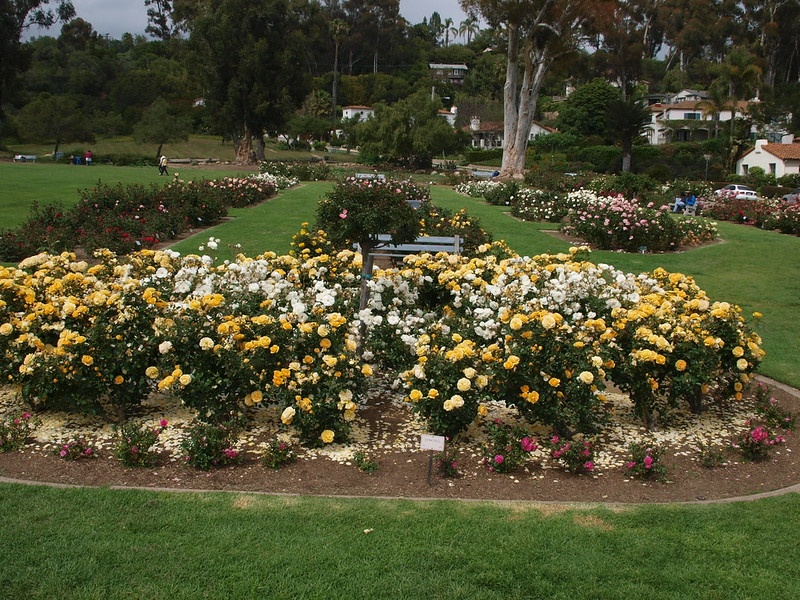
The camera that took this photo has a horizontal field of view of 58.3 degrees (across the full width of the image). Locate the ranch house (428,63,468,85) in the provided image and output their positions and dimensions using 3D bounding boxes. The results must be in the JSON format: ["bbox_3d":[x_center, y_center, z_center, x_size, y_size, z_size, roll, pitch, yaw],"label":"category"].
[{"bbox_3d":[8.538,-39.433,123.898,5.994,4.803,9.125,5,8,13],"label":"ranch house"}]

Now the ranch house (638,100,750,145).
[{"bbox_3d":[30.022,-18.246,72.786,7.005,5.180,16.618,4,8,7],"label":"ranch house"}]

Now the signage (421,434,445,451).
[{"bbox_3d":[0.376,1.622,8.091,0.279,0.214,0.040,2,-4,2],"label":"signage"}]

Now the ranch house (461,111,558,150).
[{"bbox_3d":[12.398,-19.680,83.159,6.501,4.746,18.057,0,9,-22],"label":"ranch house"}]
